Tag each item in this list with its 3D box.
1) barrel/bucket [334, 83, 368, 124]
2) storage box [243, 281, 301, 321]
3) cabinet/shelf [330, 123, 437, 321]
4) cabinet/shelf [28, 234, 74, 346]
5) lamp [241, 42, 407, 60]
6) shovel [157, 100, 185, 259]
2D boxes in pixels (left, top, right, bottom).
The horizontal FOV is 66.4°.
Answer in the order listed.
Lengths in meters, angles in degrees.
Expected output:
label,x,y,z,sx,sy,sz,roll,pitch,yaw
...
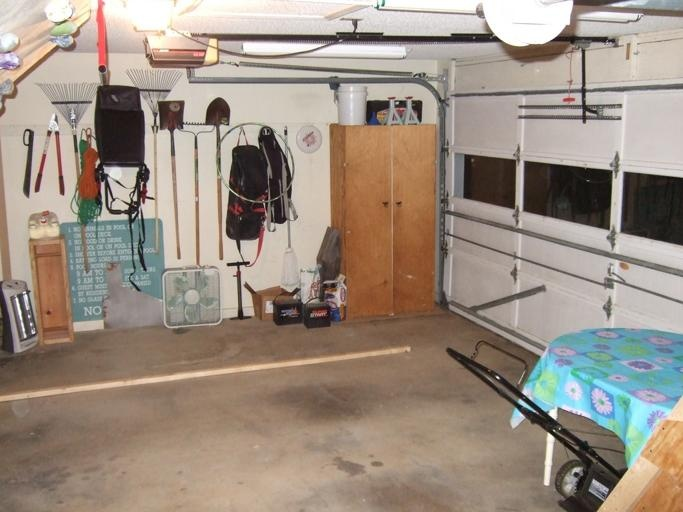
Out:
label,x,y,z,sx,sy,sz,roll,pitch,yaw
barrel/bucket,0.148,-2.233,7.874,0.532,0.563,0.515,0,5,0
storage box,-1.122,0.666,8.199,0.751,0.544,0.461,-4,9,-25
cabinet/shelf,0.623,-0.597,8.407,1.466,2.954,0.965,-7,15,-17
cabinet/shelf,-3.963,0.458,7.126,0.442,1.600,0.406,-1,11,-25
lamp,-0.185,-2.294,5.841,1.071,0.082,0.169,-4,10,-18
shovel,-2.471,-1.161,7.795,0.231,2.453,0.661,-11,29,-35
